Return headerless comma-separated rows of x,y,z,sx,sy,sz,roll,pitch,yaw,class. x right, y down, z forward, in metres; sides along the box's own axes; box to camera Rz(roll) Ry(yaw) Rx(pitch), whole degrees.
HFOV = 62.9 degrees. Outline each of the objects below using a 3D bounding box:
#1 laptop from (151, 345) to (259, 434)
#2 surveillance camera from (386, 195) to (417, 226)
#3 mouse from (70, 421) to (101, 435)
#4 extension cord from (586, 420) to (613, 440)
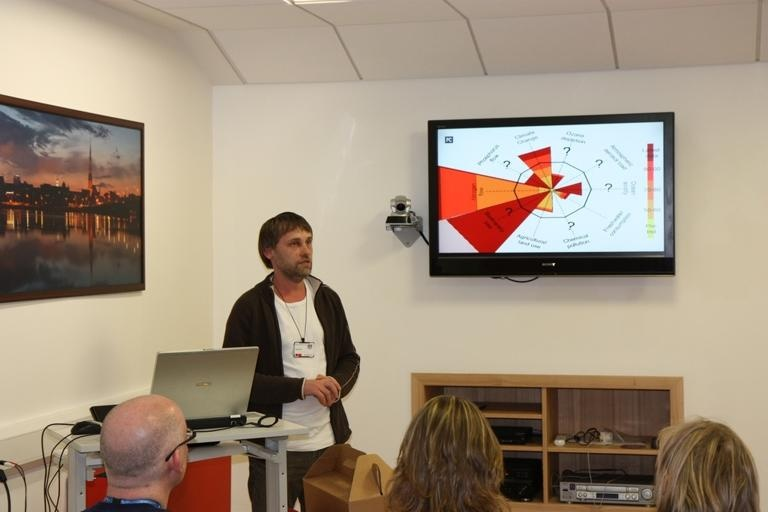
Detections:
-0.894,0.612,3.192,0.482,0.382,0.421,2,-5,-14,laptop
0.146,-0.340,4.781,0.233,0.266,0.241,3,-2,4,surveillance camera
-1.489,0.864,3.119,0.167,0.051,0.112,1,0,-26,mouse
1.633,1.342,4.717,0.194,0.099,0.277,3,-3,18,extension cord
